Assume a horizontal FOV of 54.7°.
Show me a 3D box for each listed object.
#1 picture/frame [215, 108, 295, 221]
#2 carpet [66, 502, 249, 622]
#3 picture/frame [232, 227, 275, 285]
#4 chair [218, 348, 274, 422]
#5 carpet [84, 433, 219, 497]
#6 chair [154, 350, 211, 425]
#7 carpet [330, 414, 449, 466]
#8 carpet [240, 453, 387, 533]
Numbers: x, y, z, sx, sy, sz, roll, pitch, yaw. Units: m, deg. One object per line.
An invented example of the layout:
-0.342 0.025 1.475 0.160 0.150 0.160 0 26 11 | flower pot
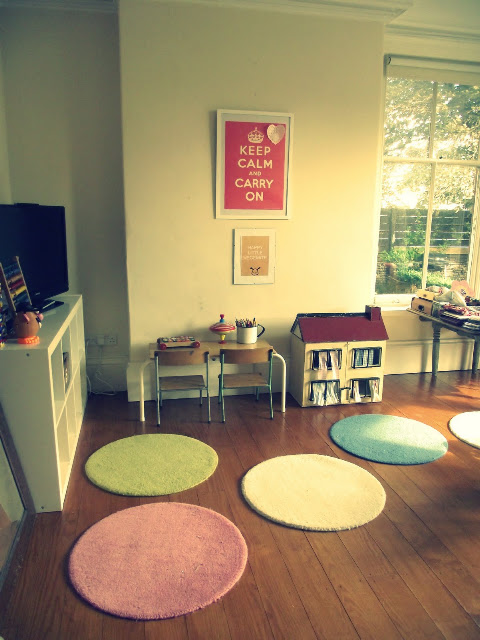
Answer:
0.094 -1.259 3.667 0.657 1.033 0.061 -2 12 -18 | picture/frame
-0.349 0.988 1.960 0.761 0.027 0.715 3 9 16 | carpet
0.098 -0.543 3.823 0.351 0.579 0.038 -1 12 -13 | picture/frame
0.036 0.402 3.638 0.431 0.797 0.497 -1 21 -5 | chair
-0.534 0.868 2.831 0.805 0.021 0.789 1 9 4 | carpet
-0.438 0.452 3.606 0.449 0.569 0.661 -1 8 -12 | chair
1.014 0.814 3.205 0.773 0.029 0.828 5 10 26 | carpet
0.393 0.928 2.487 0.776 0.021 0.700 1 9 3 | carpet
